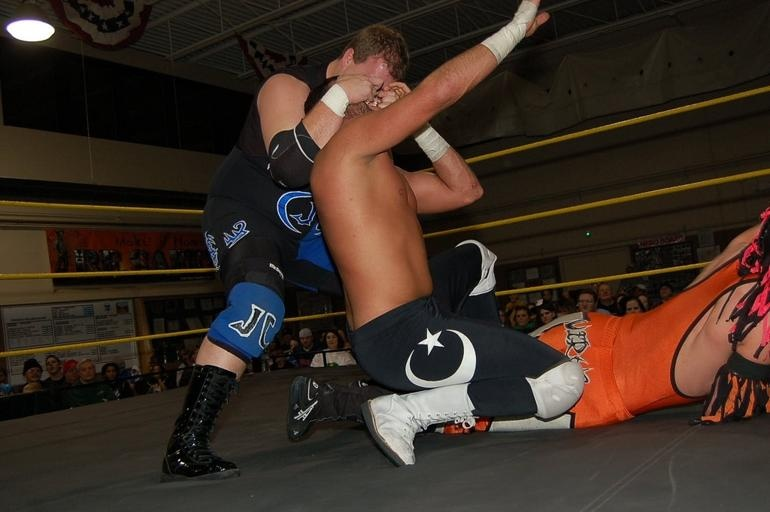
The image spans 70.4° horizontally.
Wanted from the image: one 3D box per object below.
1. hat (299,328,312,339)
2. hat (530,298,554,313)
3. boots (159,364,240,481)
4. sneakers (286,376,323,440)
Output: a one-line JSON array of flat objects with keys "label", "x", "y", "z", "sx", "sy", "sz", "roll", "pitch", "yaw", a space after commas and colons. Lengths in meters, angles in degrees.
[{"label": "hat", "x": -0.937, "y": 0.915, "z": 6.554, "sx": 0.159, "sy": 0.094, "sz": 0.159, "roll": 2, "pitch": 5, "yaw": 41}, {"label": "hat", "x": 1.875, "y": 0.544, "z": 6.504, "sx": 0.295, "sy": 0.217, "sz": 0.455, "roll": -2, "pitch": -10, "yaw": 11}, {"label": "boots", "x": -0.671, "y": 0.595, "z": 1.969, "sx": 0.298, "sy": 0.404, "sz": 0.178, "roll": -8, "pitch": 0, "yaw": -17}, {"label": "sneakers", "x": -0.333, "y": 0.607, "z": 2.237, "sx": 0.161, "sy": 0.250, "sz": 0.107, "roll": 13, "pitch": -11, "yaw": 3}]
